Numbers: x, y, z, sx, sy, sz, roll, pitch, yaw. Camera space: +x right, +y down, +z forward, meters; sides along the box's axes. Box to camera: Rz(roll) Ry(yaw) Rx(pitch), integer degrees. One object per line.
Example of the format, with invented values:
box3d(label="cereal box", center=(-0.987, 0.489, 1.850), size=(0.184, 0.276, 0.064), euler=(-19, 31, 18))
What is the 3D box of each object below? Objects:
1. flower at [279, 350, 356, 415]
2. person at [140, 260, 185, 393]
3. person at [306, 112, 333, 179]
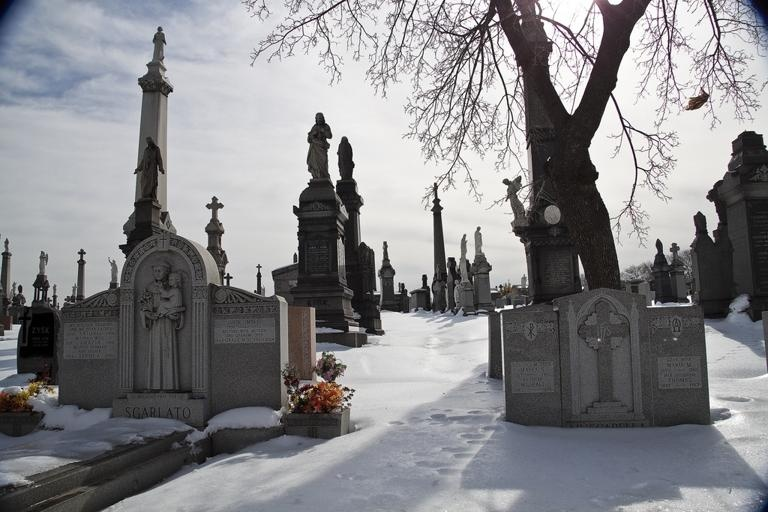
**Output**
box3d(label="flower", center=(-1.171, 2.278, 12.269), size=(1.145, 0.775, 1.193), euler=(1, 12, 33))
box3d(label="person", center=(-3.899, 1.245, 12.153), size=(0.813, 2.228, 0.287), euler=(-7, -10, 15))
box3d(label="person", center=(-2.343, -3.967, 24.759), size=(0.855, 2.682, 1.084), euler=(-3, -9, -6))
